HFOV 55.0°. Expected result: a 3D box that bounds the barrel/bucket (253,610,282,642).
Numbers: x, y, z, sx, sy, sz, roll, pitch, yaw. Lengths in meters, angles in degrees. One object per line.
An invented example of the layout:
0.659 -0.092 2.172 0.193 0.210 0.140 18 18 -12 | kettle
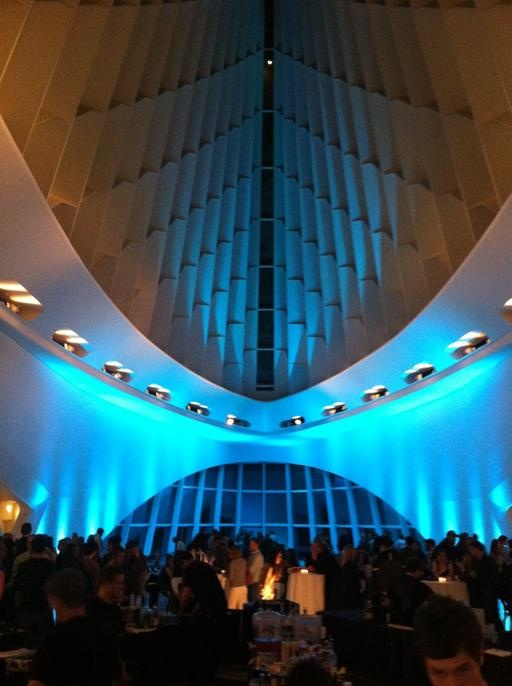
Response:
0.071 1.920 3.343 0.164 0.176 0.261 13 -33 -23 | barrel/bucket
